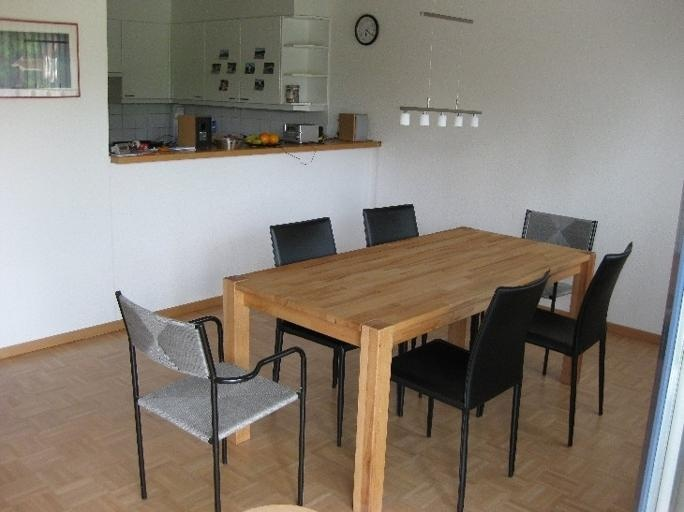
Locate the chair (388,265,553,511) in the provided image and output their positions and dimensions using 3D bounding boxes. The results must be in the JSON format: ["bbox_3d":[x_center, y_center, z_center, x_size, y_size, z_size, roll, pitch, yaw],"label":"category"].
[{"bbox_3d":[0.619,0.592,2.784,0.679,1.082,0.578,-14,22,-40],"label":"chair"}]

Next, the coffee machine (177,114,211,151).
[{"bbox_3d":[-1.267,-1.057,4.615,0.164,0.308,0.313,-7,12,-32],"label":"coffee machine"}]

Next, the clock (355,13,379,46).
[{"bbox_3d":[0.279,-2.431,5.712,0.327,0.324,0.055,13,22,42],"label":"clock"}]

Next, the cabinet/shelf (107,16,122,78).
[{"bbox_3d":[-2.753,-2.543,6.523,0.212,0.640,0.081,-7,18,-22],"label":"cabinet/shelf"}]

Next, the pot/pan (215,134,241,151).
[{"bbox_3d":[-1.076,-1.074,5.037,0.239,0.101,0.896,-3,16,-12],"label":"pot/pan"}]

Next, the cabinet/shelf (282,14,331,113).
[{"bbox_3d":[-0.404,-2.161,6.019,0.556,0.975,0.210,-9,19,-27],"label":"cabinet/shelf"}]

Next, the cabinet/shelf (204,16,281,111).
[{"bbox_3d":[-1.131,-2.299,6.285,1.063,0.934,0.350,15,18,40],"label":"cabinet/shelf"}]

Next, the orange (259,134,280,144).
[{"bbox_3d":[-0.711,-1.147,5.230,0.187,0.105,0.184,-3,16,-10],"label":"orange"}]

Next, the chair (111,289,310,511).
[{"bbox_3d":[-0.662,0.779,2.726,0.649,1.094,0.652,17,24,39],"label":"chair"}]
